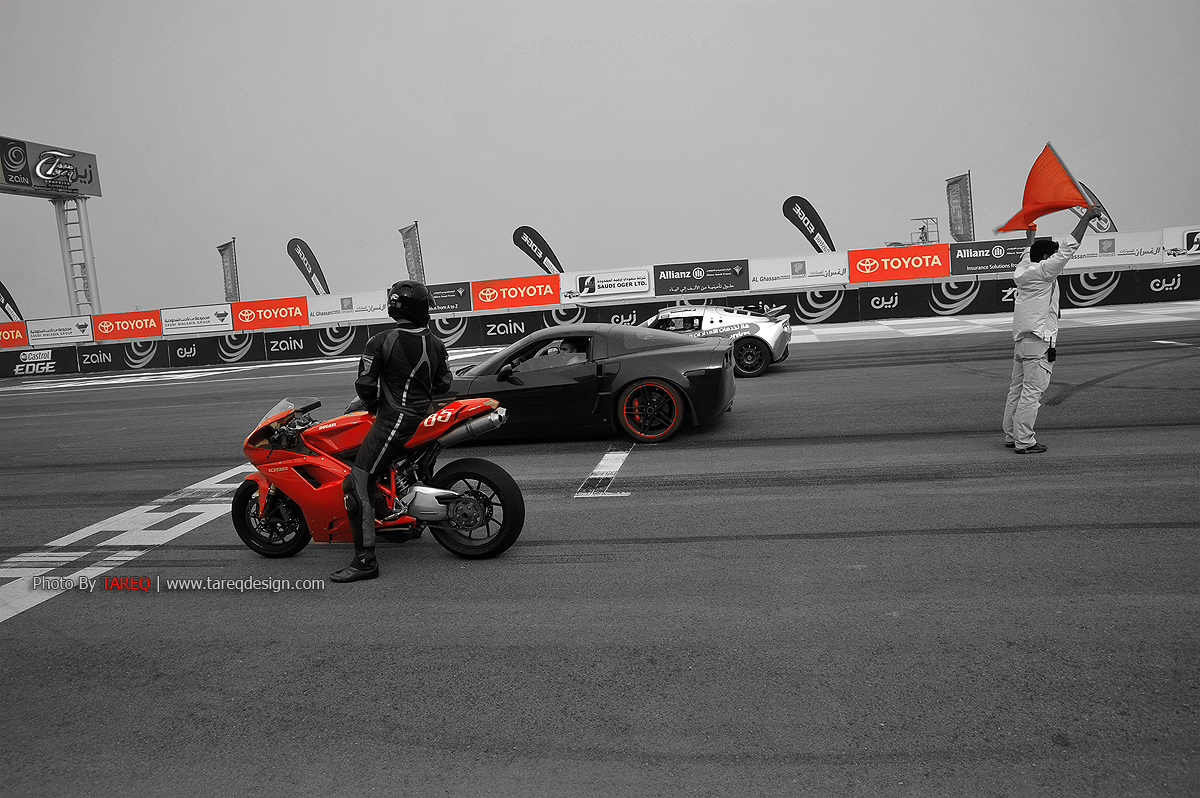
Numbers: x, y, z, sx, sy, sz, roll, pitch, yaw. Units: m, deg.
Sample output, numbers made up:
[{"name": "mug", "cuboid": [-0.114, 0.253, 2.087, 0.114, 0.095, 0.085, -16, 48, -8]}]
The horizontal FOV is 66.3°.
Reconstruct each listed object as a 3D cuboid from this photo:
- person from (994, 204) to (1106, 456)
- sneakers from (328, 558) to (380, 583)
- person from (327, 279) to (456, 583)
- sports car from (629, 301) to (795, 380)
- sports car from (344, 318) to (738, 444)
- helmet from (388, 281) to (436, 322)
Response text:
[{"name": "person", "cuboid": [4.745, -0.716, 9.831, 0.815, 2.479, 0.683, -5, 13, 5]}, {"name": "sneakers", "cuboid": [-2.010, 1.434, 7.624, 0.419, 0.301, 0.166, 2, 4, -5]}, {"name": "person", "cuboid": [-1.778, 0.238, 7.707, 1.134, 2.372, 0.546, -10, 14, -18]}, {"name": "sports car", "cuboid": [2.256, -1.191, 16.926, 2.440, 0.751, 1.486, 3, 7, 7]}, {"name": "sports car", "cuboid": [0.009, -0.235, 11.967, 3.294, 1.069, 1.959, 1, 4, 9]}, {"name": "helmet", "cuboid": [-1.576, -0.840, 7.708, 0.368, 0.340, 0.294, -9, 24, -12]}]
